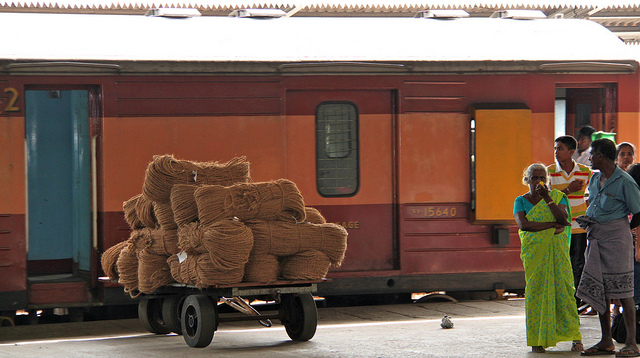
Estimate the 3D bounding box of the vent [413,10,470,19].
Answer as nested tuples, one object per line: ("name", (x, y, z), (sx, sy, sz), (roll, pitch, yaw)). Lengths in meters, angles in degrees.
("vent", (2.276, -3.095, 19.902), (1.031, 0.159, 0.362), (-2, 0, 2))
